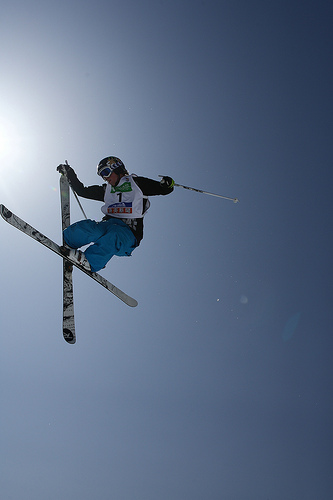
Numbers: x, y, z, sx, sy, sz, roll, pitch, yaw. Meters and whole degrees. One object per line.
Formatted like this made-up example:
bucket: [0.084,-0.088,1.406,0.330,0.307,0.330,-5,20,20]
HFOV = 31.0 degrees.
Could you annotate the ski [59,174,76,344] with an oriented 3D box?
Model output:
ski: [-1.042,0.160,6.349,0.205,1.991,0.097,-2,6,-7]

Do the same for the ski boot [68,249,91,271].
ski boot: [-0.938,0.094,6.546,0.135,0.328,0.107,-34,-18,-13]

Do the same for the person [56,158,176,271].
person: [-0.627,-0.357,6.518,1.086,1.052,0.586,-11,-45,25]

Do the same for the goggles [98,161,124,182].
goggles: [-0.654,-0.929,7.085,0.190,0.110,0.233,-35,-10,40]
